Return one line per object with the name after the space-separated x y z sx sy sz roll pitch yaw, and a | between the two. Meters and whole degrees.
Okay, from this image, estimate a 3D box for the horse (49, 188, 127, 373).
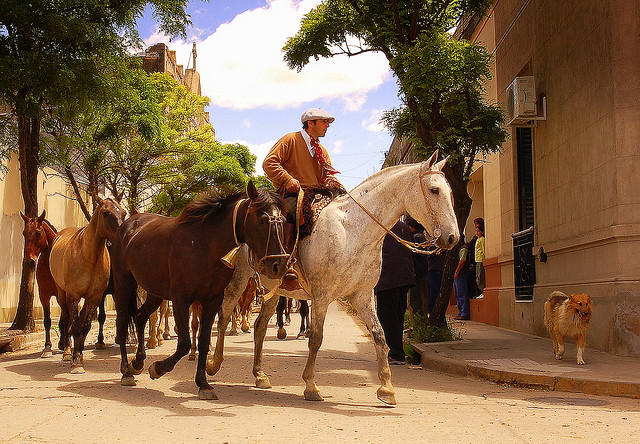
-5.075 1.335 11.342 1.207 3.662 4.668 -1 -1 -31 | horse

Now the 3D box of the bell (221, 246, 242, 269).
-1.261 0.488 7.375 0.199 0.309 0.346 -6 -13 25 | bell

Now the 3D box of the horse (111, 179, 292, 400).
-2.121 1.094 8.197 4.022 3.350 1.188 -3 -5 40 | horse

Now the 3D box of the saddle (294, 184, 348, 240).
-0.097 -0.226 7.872 0.607 0.906 0.288 2 -23 14 | saddle

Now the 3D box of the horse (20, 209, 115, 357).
-5.583 1.559 12.092 1.251 3.404 4.612 7 -12 -41 | horse

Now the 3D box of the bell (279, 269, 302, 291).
-0.426 0.830 7.567 0.303 0.169 0.437 1 -7 -2 | bell

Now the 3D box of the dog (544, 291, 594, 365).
4.752 2.012 10.122 0.535 1.350 2.003 0 -2 5 | dog

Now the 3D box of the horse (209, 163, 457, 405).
0.143 0.966 7.861 1.893 3.351 3.633 8 -15 -36 | horse

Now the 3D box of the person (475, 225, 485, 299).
5.946 1.333 19.271 0.339 2.285 1.191 -3 -12 14 | person

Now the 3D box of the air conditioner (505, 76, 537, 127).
5.441 -3.286 14.299 0.401 1.123 1.197 -1 -3 4 | air conditioner

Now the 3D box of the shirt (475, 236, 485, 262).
5.892 0.998 19.168 0.277 0.867 0.541 -1 -12 6 | shirt
